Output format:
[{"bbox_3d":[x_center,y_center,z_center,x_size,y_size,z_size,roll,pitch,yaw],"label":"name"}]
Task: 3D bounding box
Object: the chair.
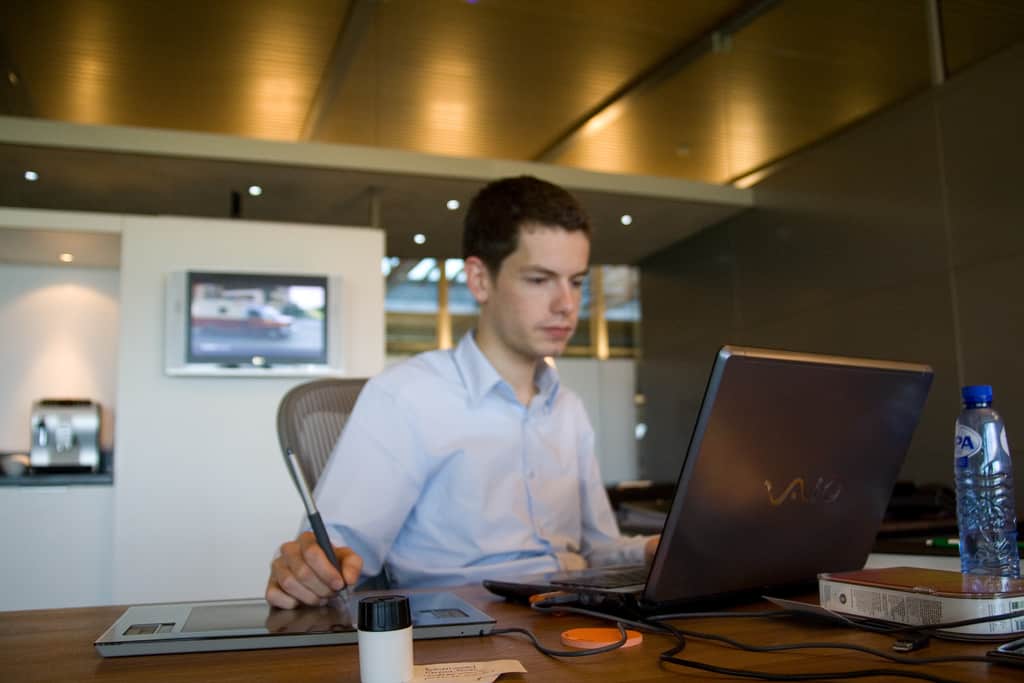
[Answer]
[{"bbox_3d":[-0.562,0.297,2.357,0.313,0.358,0.284,6,-21,-31],"label":"chair"}]
